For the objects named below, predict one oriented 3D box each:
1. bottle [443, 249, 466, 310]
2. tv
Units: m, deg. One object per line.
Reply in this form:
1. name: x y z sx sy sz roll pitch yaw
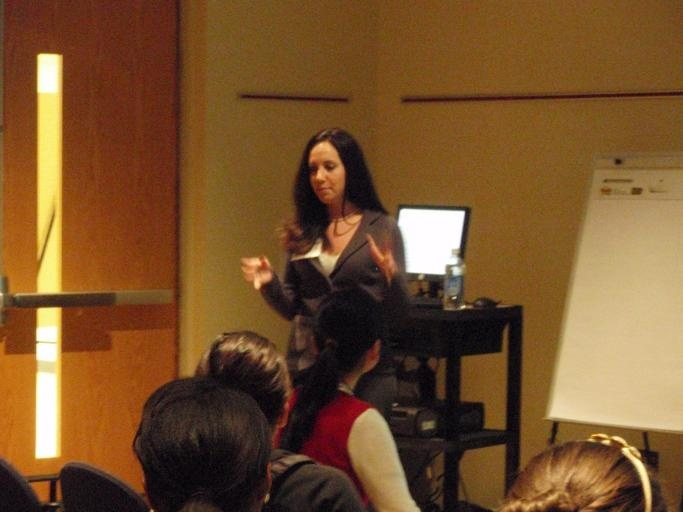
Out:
1. bottle: 0.465 0.118 3.452 0.082 0.292 0.079 5 -36 4
2. tv: 0.378 -0.029 3.545 0.281 0.448 0.166 4 -20 15
